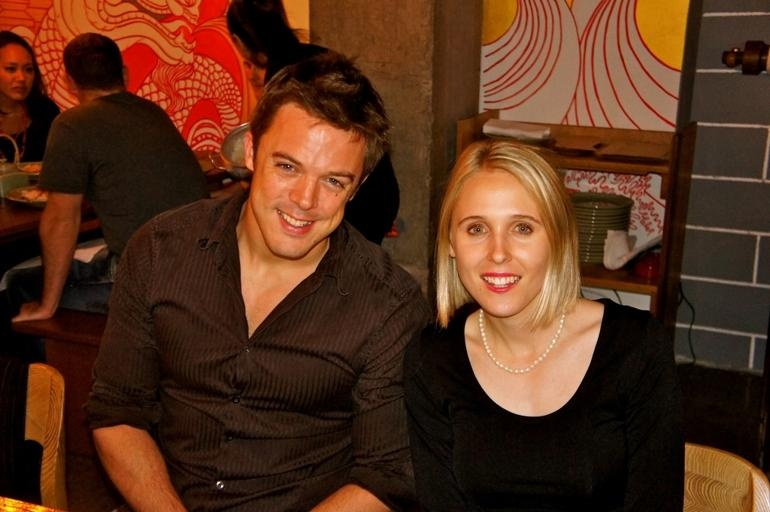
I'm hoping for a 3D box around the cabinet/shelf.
[{"bbox_3d":[0.997,-0.244,3.269,1.287,1.440,0.564,5,18,20],"label":"cabinet/shelf"}]

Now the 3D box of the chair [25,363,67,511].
[{"bbox_3d":[-1.253,0.686,2.392,0.122,0.531,0.261,-2,9,-37],"label":"chair"}]
